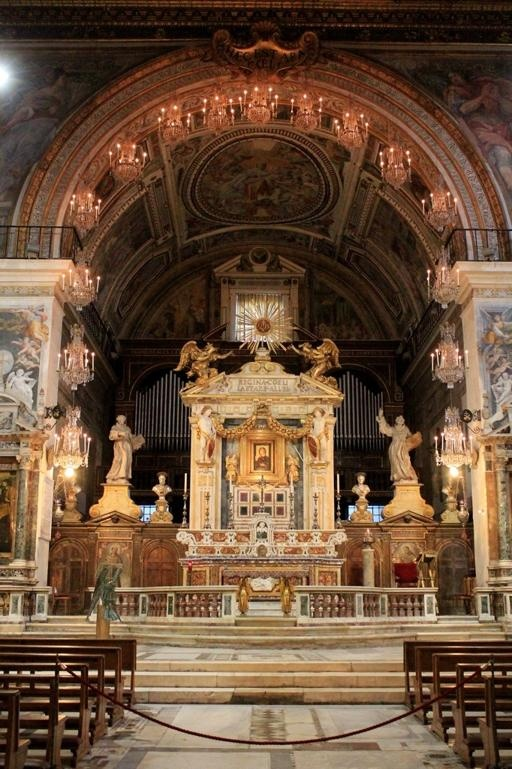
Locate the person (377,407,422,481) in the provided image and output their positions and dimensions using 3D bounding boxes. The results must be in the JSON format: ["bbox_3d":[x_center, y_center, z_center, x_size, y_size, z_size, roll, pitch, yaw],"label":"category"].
[{"bbox_3d":[4.379,1.880,20.410,1.140,2.545,1.420,-4,-20,10],"label":"person"}]

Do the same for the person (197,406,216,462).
[{"bbox_3d":[-1.375,1.353,18.439,0.483,1.632,0.510,1,-20,-4],"label":"person"}]

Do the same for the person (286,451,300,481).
[{"bbox_3d":[1.027,2.332,18.522,0.386,0.823,0.263,1,-20,-3],"label":"person"}]

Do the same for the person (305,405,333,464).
[{"bbox_3d":[1.813,1.440,18.677,0.806,1.563,0.295,8,-21,-22],"label":"person"}]

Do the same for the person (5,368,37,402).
[{"bbox_3d":[-5.507,0.064,15.502,0.812,0.928,0.197,1,-23,-14],"label":"person"}]

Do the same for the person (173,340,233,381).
[{"bbox_3d":[-1.696,-0.800,21.718,1.583,1.079,0.585,2,-11,-11],"label":"person"}]

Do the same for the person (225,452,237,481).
[{"bbox_3d":[-0.713,2.304,18.493,0.287,0.789,0.313,-8,-21,20],"label":"person"}]

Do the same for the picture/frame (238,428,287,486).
[{"bbox_3d":[0.150,2.074,18.561,1.727,1.883,0.209,0,-25,-1],"label":"picture/frame"}]
